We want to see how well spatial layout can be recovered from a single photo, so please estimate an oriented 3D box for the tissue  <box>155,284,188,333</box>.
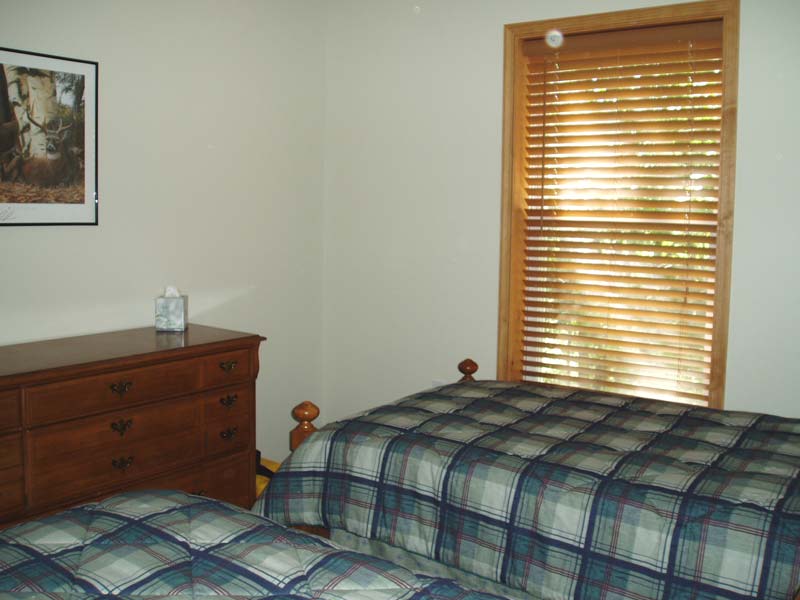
[{"bbox_3d":[-1.101,0.051,3.151,0.148,0.215,0.130,-3,-9,-5],"label":"tissue "}]
